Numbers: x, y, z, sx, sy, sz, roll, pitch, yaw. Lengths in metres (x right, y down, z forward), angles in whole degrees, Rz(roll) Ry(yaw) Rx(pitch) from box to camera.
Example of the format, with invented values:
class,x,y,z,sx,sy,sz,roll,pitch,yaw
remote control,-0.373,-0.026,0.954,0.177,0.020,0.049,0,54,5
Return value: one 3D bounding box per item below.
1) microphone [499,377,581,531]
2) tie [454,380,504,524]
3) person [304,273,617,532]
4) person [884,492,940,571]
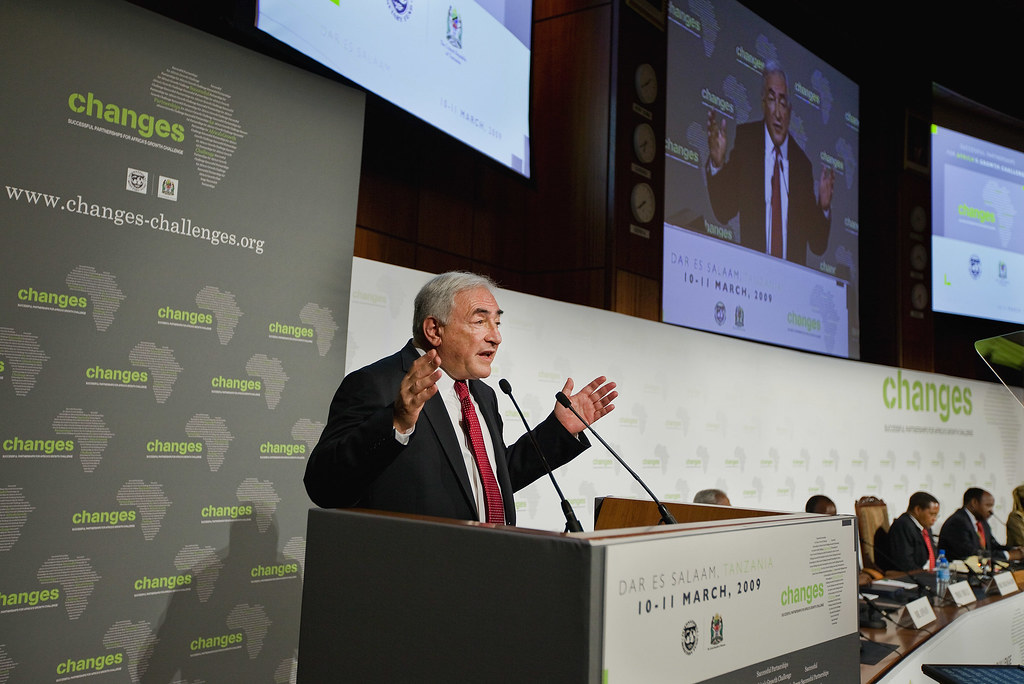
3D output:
class,x,y,z,sx,sy,sz,roll,pitch,yaw
microphone,0.102,0.464,3.138,0.087,0.883,0.087,-22,8,21
tie,-0.141,0.320,2.628,0.096,0.649,0.074,16,-41,-38
person,-0.222,0.228,2.821,0.500,1.387,0.891,-22,-28,31
person,2.785,1.322,5.035,0.337,0.802,0.315,-5,-15,37
